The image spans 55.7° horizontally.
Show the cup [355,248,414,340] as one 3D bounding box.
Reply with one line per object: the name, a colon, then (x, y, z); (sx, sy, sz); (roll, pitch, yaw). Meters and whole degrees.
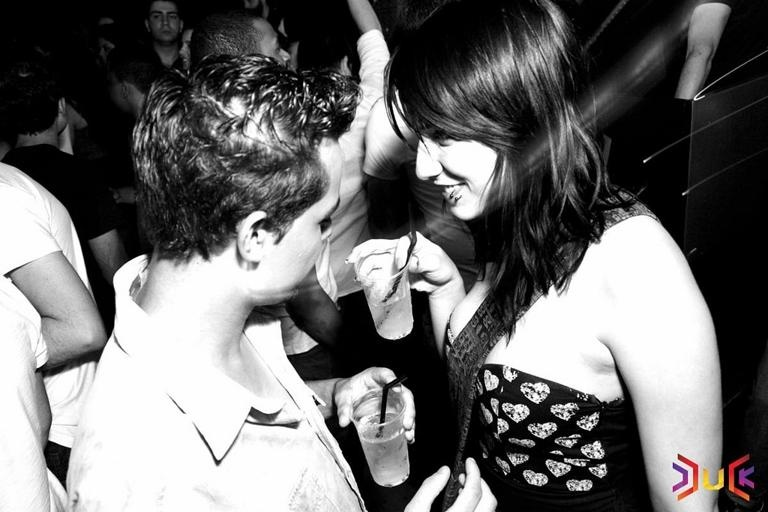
cup: (0.023, 0.142, 3.309); (0.236, 0.398, 0.253); (-8, 36, 6)
